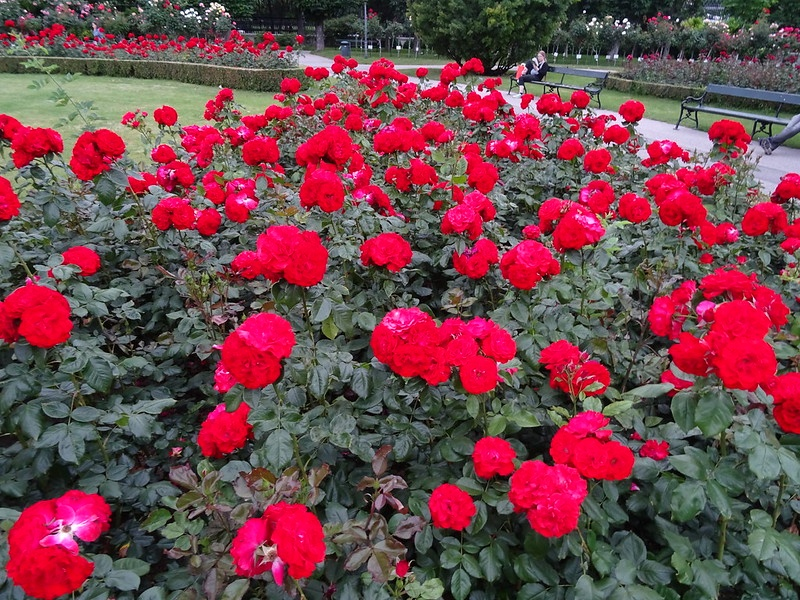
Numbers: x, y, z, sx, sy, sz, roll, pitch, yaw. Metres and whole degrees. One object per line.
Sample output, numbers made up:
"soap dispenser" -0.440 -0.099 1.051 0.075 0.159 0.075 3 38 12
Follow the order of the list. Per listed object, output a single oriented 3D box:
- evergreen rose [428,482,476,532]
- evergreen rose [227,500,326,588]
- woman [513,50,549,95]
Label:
"evergreen rose" 0.218 0.833 2.127 0.193 0.097 0.179 33 83 10
"evergreen rose" -0.394 0.823 1.744 0.260 0.232 0.268 32 52 23
"woman" 3.863 -6.569 15.066 0.646 1.205 1.316 -23 39 -19
